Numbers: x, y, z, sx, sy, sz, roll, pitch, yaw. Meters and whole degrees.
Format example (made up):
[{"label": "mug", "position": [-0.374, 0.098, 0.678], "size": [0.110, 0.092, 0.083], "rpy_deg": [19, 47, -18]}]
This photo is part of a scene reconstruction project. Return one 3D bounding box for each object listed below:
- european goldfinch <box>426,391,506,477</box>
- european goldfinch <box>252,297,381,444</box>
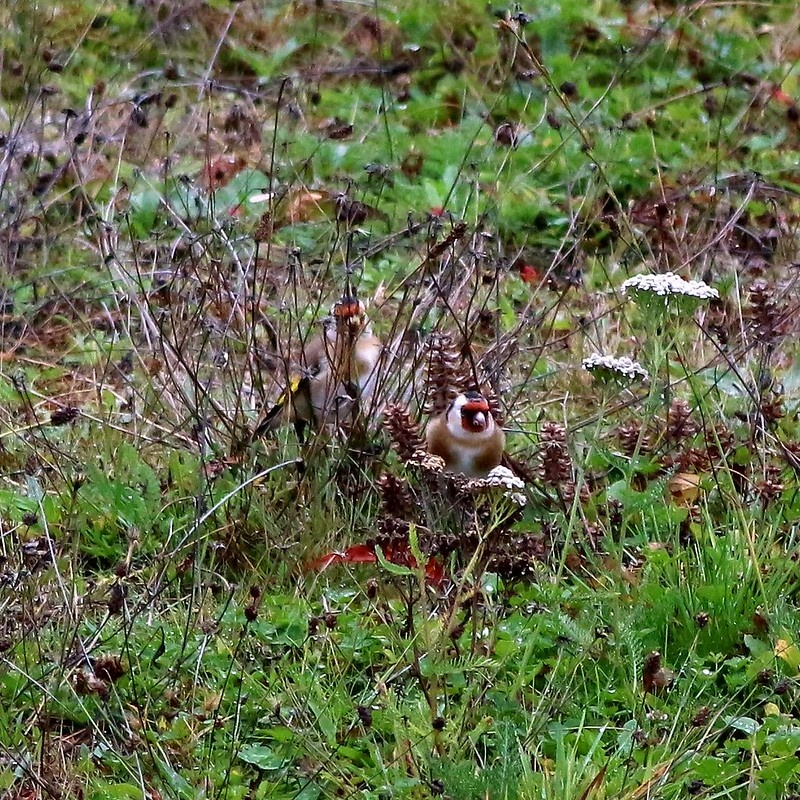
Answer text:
[{"label": "european goldfinch", "position": [0.175, 0.098, 3.182], "size": [0.152, 0.206, 0.273], "rpy_deg": [0, 2, -5]}, {"label": "european goldfinch", "position": [-0.224, -0.083, 3.861], "size": [0.242, 0.482, 0.724], "rpy_deg": [-6, 1, -18]}]
